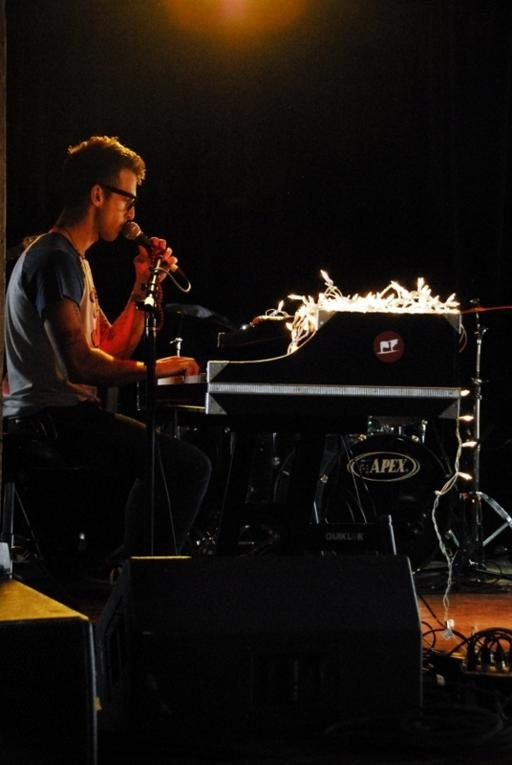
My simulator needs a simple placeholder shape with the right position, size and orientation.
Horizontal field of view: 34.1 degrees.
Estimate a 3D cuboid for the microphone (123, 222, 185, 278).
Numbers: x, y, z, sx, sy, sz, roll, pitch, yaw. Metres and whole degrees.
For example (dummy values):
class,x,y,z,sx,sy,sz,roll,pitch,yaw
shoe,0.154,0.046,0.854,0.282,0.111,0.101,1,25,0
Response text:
class,x,y,z,sx,sy,sz,roll,pitch,yaw
microphone,-0.299,-0.395,2.418,0.173,0.187,0.321,3,-5,-10
